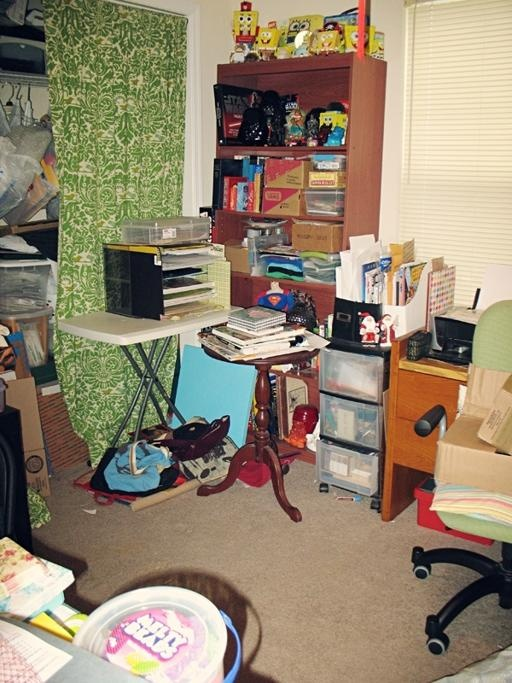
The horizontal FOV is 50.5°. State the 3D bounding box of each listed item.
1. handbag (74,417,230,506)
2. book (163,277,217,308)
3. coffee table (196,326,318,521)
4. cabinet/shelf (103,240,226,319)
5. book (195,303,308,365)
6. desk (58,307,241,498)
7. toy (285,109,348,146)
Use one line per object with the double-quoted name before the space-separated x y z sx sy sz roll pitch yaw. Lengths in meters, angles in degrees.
"handbag" -0.502 0.593 2.718 0.606 0.174 0.429 -14 22 -28
"book" -0.358 -0.248 2.723 0.182 0.060 0.187 15 22 42
"coffee table" 0.013 0.398 2.551 0.582 0.658 0.513 2 4 6
"cabinet/shelf" -0.502 -0.379 2.739 0.480 0.288 0.468 -13 21 -43
"book" -0.039 -0.019 2.350 0.467 0.183 0.270 0 12 5
"desk" -0.527 0.067 2.927 0.739 0.965 1.088 8 16 34
"toy" 0.311 -1.055 2.720 0.279 0.257 0.085 8 11 43
